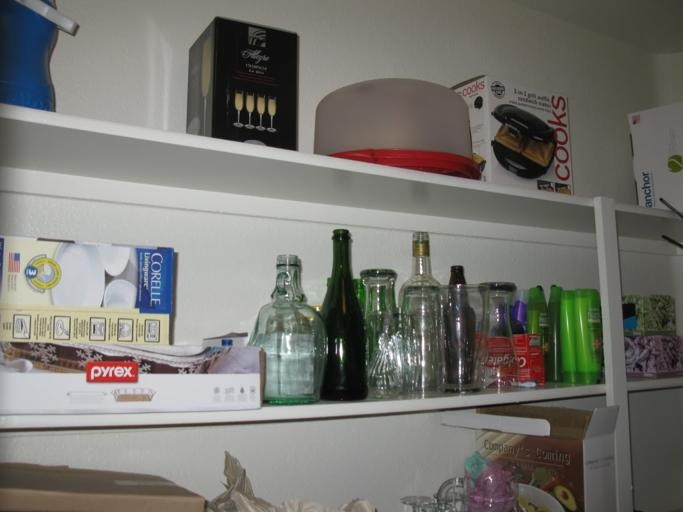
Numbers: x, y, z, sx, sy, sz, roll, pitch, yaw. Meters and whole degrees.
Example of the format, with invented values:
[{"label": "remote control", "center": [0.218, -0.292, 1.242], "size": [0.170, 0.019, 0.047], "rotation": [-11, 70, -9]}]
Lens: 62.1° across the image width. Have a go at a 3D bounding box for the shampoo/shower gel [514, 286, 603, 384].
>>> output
[{"label": "shampoo/shower gel", "center": [0.605, 0.219, 1.611], "size": [0.224, 0.355, 0.242], "rotation": [9, -11, -40]}]
